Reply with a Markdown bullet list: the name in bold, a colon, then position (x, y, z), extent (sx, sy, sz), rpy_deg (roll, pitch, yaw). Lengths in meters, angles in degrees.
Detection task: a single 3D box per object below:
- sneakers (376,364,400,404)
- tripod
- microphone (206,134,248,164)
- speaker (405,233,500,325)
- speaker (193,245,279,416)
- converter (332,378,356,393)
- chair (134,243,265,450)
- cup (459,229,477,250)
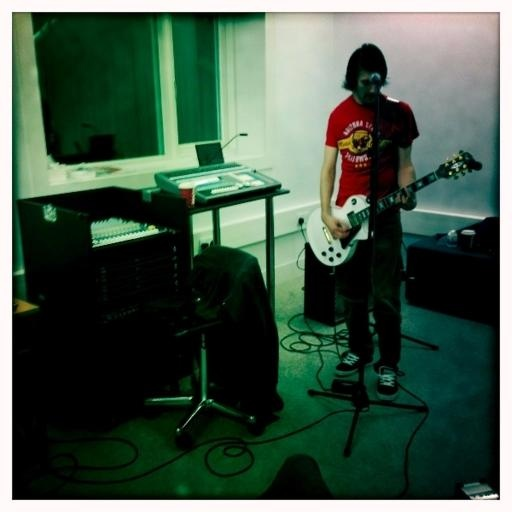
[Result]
- **sneakers**: position (0.654, 0.608, 2.624), extent (0.101, 0.121, 0.317), rpy_deg (3, 10, 17)
- **tripod**: position (0.491, -0.001, 2.419), extent (0.543, 1.420, 0.890), rpy_deg (-2, 16, 5)
- **microphone**: position (-0.199, -0.707, 3.496), extent (0.243, 0.042, 0.272), rpy_deg (-8, -12, -14)
- **speaker**: position (1.257, 0.106, 3.394), extent (0.470, 0.433, 0.515), rpy_deg (8, 11, 29)
- **speaker**: position (-0.126, 0.323, 2.330), extent (0.418, 0.784, 0.309), rpy_deg (10, 21, 39)
- **converter**: position (0.431, 0.642, 2.633), extent (0.106, 0.029, 0.072), rpy_deg (-1, 39, 7)
- **chair**: position (-0.230, 0.537, 2.434), extent (0.515, 0.543, 0.515), rpy_deg (-5, -8, 21)
- **cup**: position (1.324, -0.106, 3.327), extent (0.100, 0.139, 0.101), rpy_deg (-1, 10, 0)
